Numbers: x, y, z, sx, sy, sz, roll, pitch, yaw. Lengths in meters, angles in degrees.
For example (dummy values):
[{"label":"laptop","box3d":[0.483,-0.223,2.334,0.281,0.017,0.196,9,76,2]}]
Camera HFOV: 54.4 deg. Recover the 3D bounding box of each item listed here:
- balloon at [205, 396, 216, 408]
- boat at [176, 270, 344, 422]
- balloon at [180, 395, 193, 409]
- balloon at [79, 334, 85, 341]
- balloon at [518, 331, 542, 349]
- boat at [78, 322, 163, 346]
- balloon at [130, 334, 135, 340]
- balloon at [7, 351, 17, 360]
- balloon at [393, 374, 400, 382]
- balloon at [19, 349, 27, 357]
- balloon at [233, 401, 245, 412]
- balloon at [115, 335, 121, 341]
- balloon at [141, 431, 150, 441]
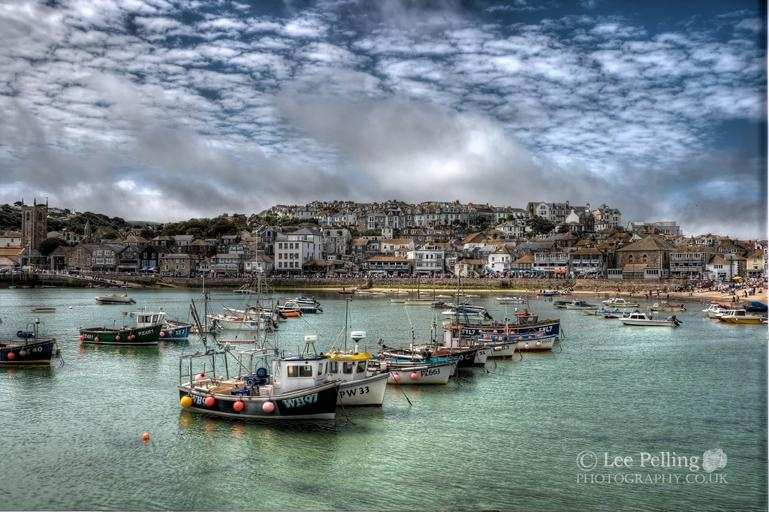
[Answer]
[{"label":"balloon","box3d":[-7.600,6.319,32.436,0.486,0.507,0.242,-3,-4,34]},{"label":"boat","box3d":[-5.290,5.498,33.836,8.562,2.964,4.526,-2,-1,33]},{"label":"balloon","box3d":[-8.718,6.404,33.116,0.623,0.588,0.503,13,37,-12]},{"label":"balloon","box3d":[-18.820,5.086,46.467,0.392,0.311,0.390,0,30,-28]},{"label":"balloon","box3d":[8.592,5.105,44.527,0.951,0.435,1.334,-2,5,2]},{"label":"boat","box3d":[-16.414,4.996,47.186,4.224,1.408,5.098,-1,-5,-11]},{"label":"balloon","box3d":[-15.422,4.928,45.550,0.322,0.324,0.166,0,-3,-10]},{"label":"balloon","box3d":[-19.761,5.279,39.577,0.454,0.452,0.395,3,16,18]},{"label":"balloon","box3d":[0.603,5.973,36.506,0.380,0.284,0.329,-3,18,-20]},{"label":"balloon","box3d":[-19.166,5.158,39.611,0.392,0.385,0.347,3,14,22]},{"label":"balloon","box3d":[-6.253,6.451,32.065,0.503,0.471,0.205,-2,-3,15]},{"label":"balloon","box3d":[-16.336,5.008,45.762,0.375,0.279,0.176,11,-12,-10]},{"label":"balloon","box3d":[-9.918,7.464,30.949,0.385,0.384,0.272,14,24,34]}]
